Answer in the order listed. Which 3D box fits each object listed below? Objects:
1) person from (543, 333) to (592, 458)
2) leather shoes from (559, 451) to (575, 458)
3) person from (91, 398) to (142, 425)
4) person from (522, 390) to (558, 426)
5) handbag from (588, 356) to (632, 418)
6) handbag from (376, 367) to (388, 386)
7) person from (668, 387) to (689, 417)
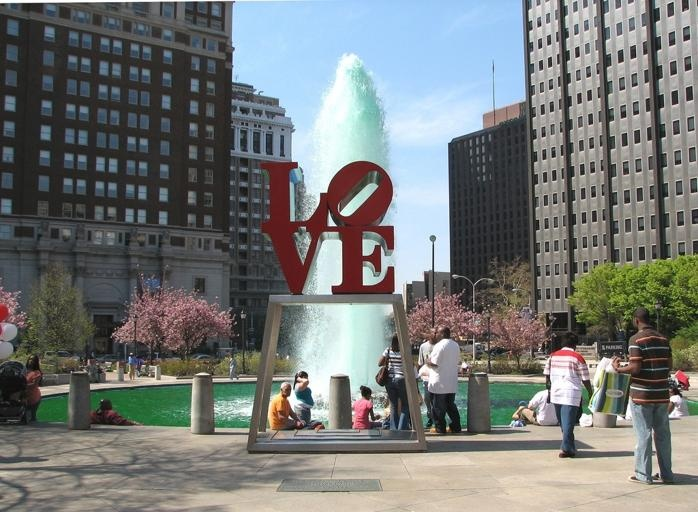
[{"bbox_3d":[5.422,3.354,17.388,1.116,2.977,0.998,-3,-10,44],"label":"person"},{"bbox_3d":[5.237,4.694,16.953,0.387,0.172,0.144,-1,-1,-13],"label":"leather shoes"},{"bbox_3d":[-7.372,4.773,21.820,1.328,0.761,0.565,-5,-10,27],"label":"person"},{"bbox_3d":[5.695,4.455,21.107,0.805,1.083,0.930,4,0,-6],"label":"person"},{"bbox_3d":[7.067,3.507,19.192,0.691,1.497,1.834,8,-3,12],"label":"handbag"},{"bbox_3d":[0.918,3.254,19.502,0.296,0.527,0.608,0,-9,-2],"label":"handbag"},{"bbox_3d":[10.364,4.585,22.454,0.646,1.065,0.799,1,-3,26],"label":"person"}]
